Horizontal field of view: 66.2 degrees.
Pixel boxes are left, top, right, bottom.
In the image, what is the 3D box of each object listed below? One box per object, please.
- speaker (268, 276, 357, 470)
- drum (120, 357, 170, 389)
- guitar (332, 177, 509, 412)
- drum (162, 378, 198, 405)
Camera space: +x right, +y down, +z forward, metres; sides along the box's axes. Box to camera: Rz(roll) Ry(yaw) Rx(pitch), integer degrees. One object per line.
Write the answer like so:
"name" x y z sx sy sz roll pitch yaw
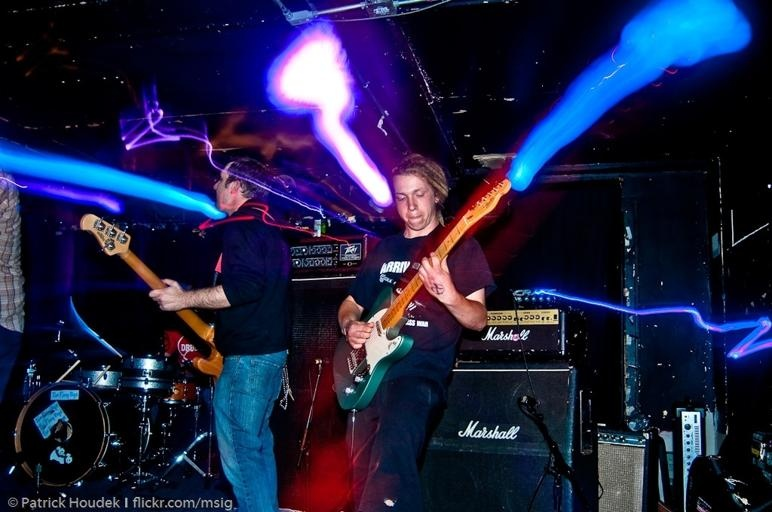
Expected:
"speaker" -0.609 1.179 5.951 0.276 1.758 0.807 24 -26 -29
"drum" -2.656 1.306 6.568 0.403 0.246 0.396 5 -12 1
"guitar" 0.198 0.347 4.511 0.573 1.684 1.212 11 -13 -36
"drum" -2.326 1.550 6.775 0.296 0.212 0.294 1 -15 0
